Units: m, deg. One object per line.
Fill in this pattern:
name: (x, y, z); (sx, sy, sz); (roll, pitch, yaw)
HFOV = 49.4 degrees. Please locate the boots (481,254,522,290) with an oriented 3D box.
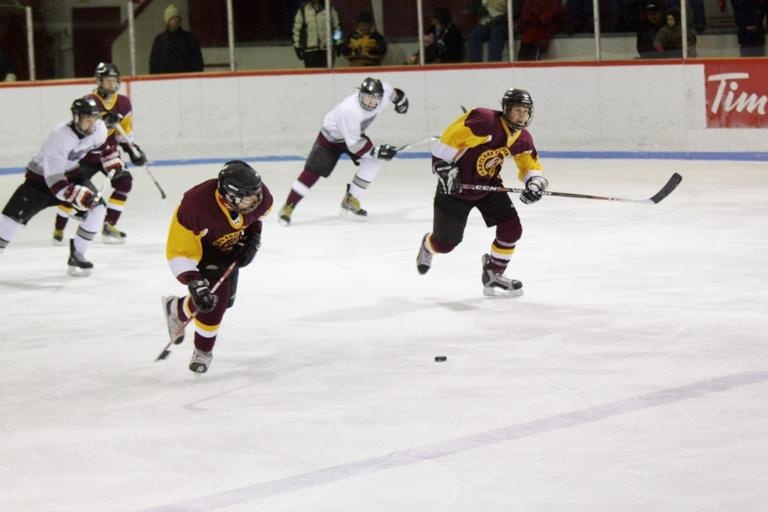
boots: (0.826, 0.123, 5.615); (0.146, 0.246, 0.401); (-6, 9, -34)

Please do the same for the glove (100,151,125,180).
glove: (-2.221, -0.753, 6.933); (0.235, 0.121, 0.256); (-13, 24, -25)

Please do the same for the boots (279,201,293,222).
boots: (-0.887, -0.388, 7.646); (0.135, 0.198, 0.084); (-2, 6, -7)

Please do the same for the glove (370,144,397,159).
glove: (0.024, -0.962, 7.725); (0.168, 0.087, 0.204); (8, 12, 13)

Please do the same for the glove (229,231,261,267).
glove: (-0.738, -0.035, 4.556); (0.072, 0.193, 0.138); (34, -16, 44)

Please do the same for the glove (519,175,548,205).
glove: (0.976, -0.438, 5.617); (0.155, 0.093, 0.214); (40, -40, -15)

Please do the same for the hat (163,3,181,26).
hat: (-2.784, -3.177, 10.930); (0.211, 0.258, 0.141); (-1, 6, 3)

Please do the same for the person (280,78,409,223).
person: (-0.243, -0.969, 7.839); (0.820, 1.305, 1.305); (3, 7, 41)

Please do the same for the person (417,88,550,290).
person: (0.639, -0.414, 5.593); (0.865, 1.346, 0.520); (0, 6, 12)

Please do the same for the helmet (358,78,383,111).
helmet: (-0.111, -1.466, 7.585); (0.227, 0.277, 0.317); (-2, 5, -2)

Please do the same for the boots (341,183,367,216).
boots: (-0.310, -0.508, 7.844); (0.129, 0.225, 0.370); (6, -10, 46)

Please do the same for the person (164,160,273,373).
person: (-0.844, 0.068, 4.412); (0.510, 1.121, 0.451); (-1, 6, 2)

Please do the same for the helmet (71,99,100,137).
helmet: (-2.200, -1.030, 6.152); (0.202, 0.284, 0.207); (-2, 6, -10)

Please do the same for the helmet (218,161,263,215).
helmet: (-0.726, -0.347, 4.240); (0.228, 0.273, 0.207); (-2, 6, -7)

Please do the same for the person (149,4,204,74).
person: (-2.739, -2.849, 10.983); (0.691, 0.889, 0.200); (-3, 6, -12)

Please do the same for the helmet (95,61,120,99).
helmet: (-2.442, -1.563, 7.422); (0.195, 0.302, 0.320); (-3, 6, -16)

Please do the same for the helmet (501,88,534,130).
helmet: (0.848, -0.938, 5.319); (0.180, 0.264, 0.173); (-1, 6, 7)

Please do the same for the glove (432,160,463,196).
glove: (0.414, -0.518, 5.471); (0.229, 0.205, 0.093); (6, -23, 2)

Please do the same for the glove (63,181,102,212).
glove: (-2.172, -0.429, 6.061); (0.283, 0.097, 0.192); (18, 10, 12)

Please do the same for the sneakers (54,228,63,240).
sneakers: (-2.778, -0.178, 7.215); (0.085, 0.092, 0.113); (0, 5, -26)
